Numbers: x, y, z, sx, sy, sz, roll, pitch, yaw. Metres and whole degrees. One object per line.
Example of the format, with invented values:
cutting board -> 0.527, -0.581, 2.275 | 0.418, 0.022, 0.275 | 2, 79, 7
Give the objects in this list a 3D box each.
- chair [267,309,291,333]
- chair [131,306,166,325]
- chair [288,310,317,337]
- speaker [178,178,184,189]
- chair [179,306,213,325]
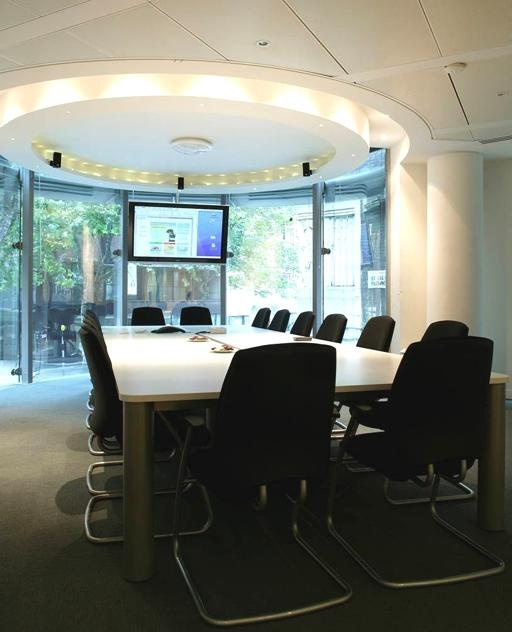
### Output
chair -> 0.274, 0.073, 6.409 | 0.264, 0.433, 0.248 | 6, -2, -30
chair -> -1.441, 0.018, 6.861 | 0.369, 0.254, 0.258 | 1, -8, -15
chair -> 0.455, 0.075, 5.152 | 0.251, 0.390, 0.225 | 5, -2, -26
speaker -> -1.094, -1.924, 7.487 | 0.094, 0.164, 0.225 | 0, 1, -12
chair -> -0.840, -0.095, 7.197 | 0.447, 0.317, 0.233 | 1, -6, -20
